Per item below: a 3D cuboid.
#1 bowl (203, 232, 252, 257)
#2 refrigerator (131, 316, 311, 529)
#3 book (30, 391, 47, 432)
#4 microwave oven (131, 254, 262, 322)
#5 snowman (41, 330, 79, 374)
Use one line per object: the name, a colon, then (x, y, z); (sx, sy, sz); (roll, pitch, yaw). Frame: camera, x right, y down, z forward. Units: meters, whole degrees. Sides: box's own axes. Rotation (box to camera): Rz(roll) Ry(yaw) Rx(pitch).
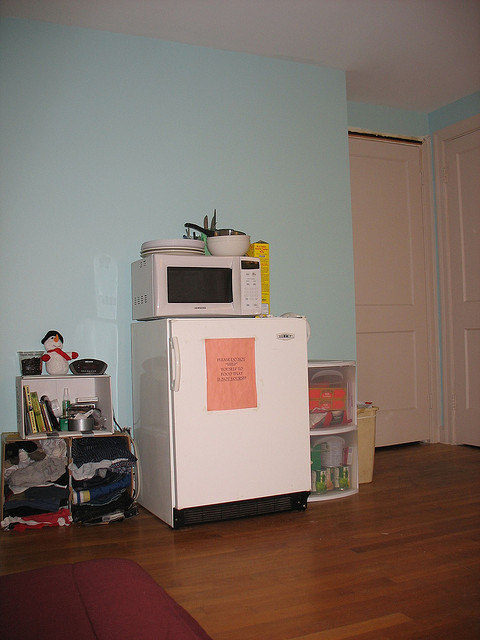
bowl: (-0.063, -0.395, 2.820); (0.234, 0.148, 0.207); (-1, -4, -2)
refrigerator: (-0.115, 0.484, 2.782); (0.770, 0.961, 0.802); (-1, -4, -11)
book: (-0.921, 0.428, 2.478); (0.030, 0.220, 0.166); (-19, 9, -18)
microwave oven: (-0.097, -0.149, 2.724); (0.535, 0.313, 0.382); (-2, 0, 15)
snowman: (-0.897, 0.163, 2.683); (0.205, 0.231, 0.115); (4, -11, -43)
